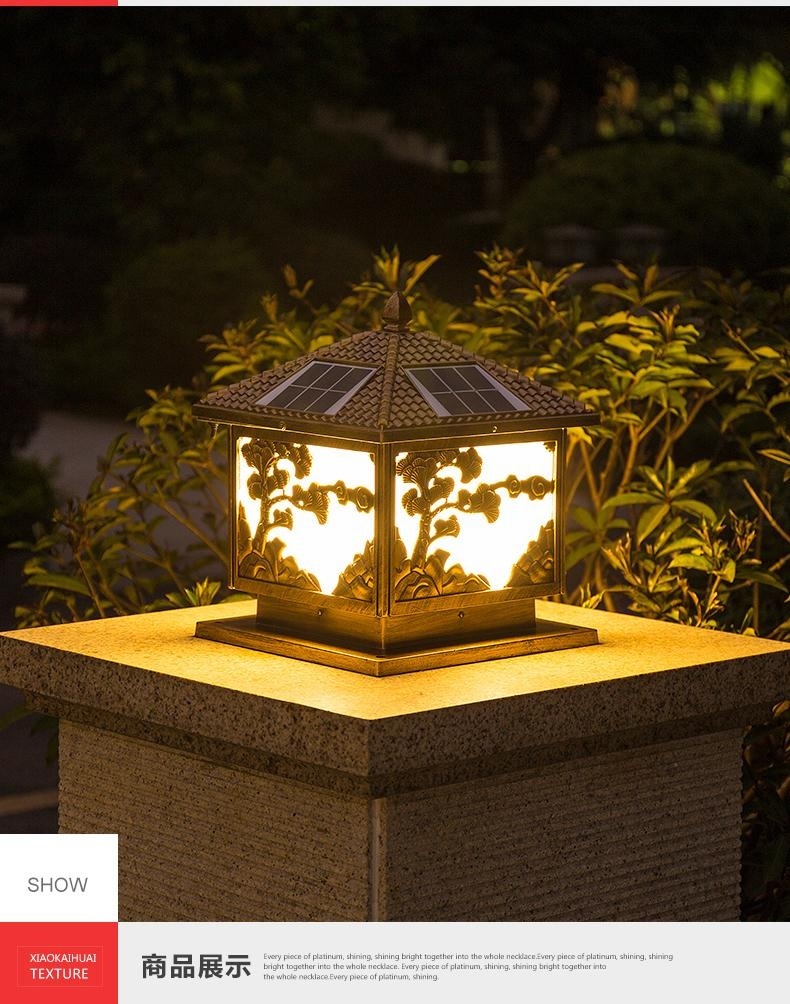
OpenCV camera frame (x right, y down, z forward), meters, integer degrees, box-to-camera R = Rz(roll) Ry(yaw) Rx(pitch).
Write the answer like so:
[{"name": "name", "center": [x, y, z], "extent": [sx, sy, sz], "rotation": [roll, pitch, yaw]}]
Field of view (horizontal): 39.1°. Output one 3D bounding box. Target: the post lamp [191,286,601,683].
[{"name": "post lamp", "center": [0.005, -0.038, 2.018], "extent": [0.782, 0.508, 0.636], "rotation": [1, 5, 13]}]
